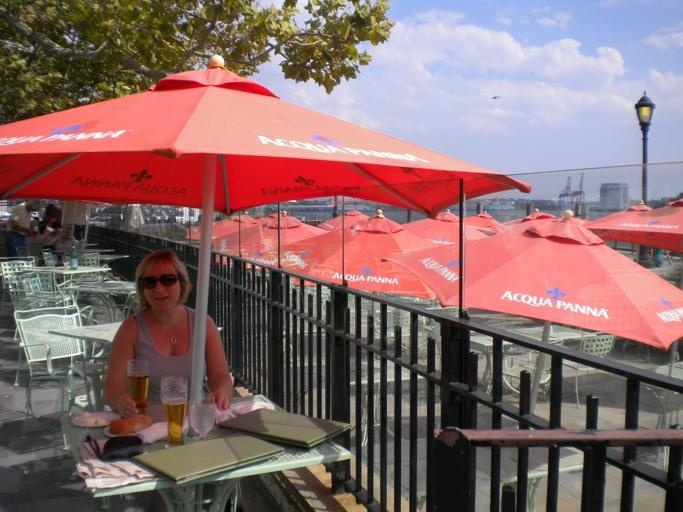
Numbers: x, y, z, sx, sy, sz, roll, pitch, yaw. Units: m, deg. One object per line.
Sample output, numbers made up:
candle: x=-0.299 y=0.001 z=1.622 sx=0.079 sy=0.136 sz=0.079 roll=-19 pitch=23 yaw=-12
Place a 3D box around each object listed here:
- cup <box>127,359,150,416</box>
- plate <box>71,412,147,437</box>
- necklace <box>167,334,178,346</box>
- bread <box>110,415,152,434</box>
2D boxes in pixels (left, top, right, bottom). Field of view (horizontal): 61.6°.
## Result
cup: x=-1.081 y=0.682 z=2.987 sx=0.127 sy=0.281 sz=0.147 roll=0 pitch=13 yaw=4
plate: x=-1.149 y=0.834 z=2.863 sx=0.185 sy=0.025 sz=0.178 roll=5 pitch=-3 yaw=26
necklace: x=-1.075 y=0.531 z=3.622 sx=0.057 sy=0.066 sz=0.017 roll=-7 pitch=-11 yaw=-15
bread: x=-1.048 y=0.822 z=2.821 sx=0.128 sy=0.045 sz=0.092 roll=-3 pitch=-2 yaw=16
